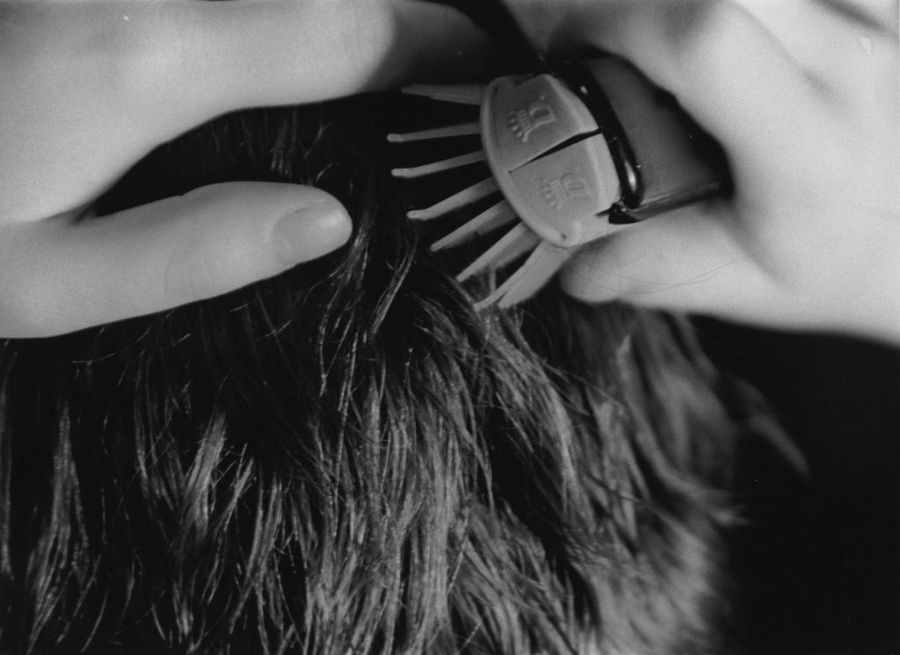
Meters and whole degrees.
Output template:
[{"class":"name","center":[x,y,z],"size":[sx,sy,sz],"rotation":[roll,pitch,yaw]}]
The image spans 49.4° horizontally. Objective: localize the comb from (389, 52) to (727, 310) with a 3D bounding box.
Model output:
[{"class":"comb","center":[0.161,-0.211,1.297],"size":[0.389,0.284,0.235],"rotation":[-14,80,-18]}]
